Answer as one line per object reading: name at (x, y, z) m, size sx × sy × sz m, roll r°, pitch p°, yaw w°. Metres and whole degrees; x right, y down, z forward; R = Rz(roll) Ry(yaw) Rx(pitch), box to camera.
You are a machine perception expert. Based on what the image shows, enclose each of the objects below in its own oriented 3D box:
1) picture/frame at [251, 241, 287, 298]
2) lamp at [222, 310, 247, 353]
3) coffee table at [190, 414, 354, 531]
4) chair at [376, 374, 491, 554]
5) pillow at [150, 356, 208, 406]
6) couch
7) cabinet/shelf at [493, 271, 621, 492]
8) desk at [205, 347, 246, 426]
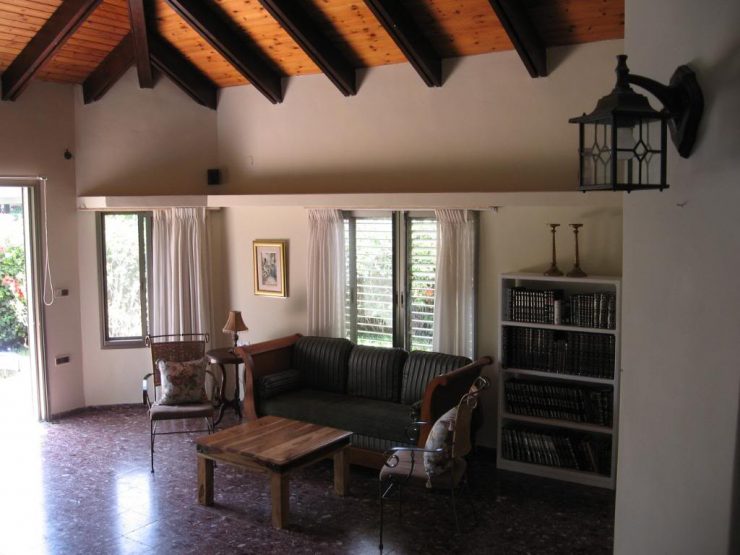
picture/frame at (-1.303, -0.124, 7.852) m, size 0.650 × 0.857 × 0.090 m, roll 4°, pitch 7°, yaw 34°
lamp at (-1.672, 0.666, 7.508) m, size 0.289 × 0.460 × 0.288 m, roll -1°, pitch 1°, yaw -33°
coffee table at (-0.913, 1.757, 5.675) m, size 1.266 × 0.600 × 0.947 m, roll 4°, pitch 10°, yaw 26°
chair at (0.502, 1.506, 5.679) m, size 1.126 × 2.020 × 1.243 m, roll 2°, pitch 3°, yaw 16°
pillow at (-2.086, 1.165, 6.736) m, size 0.533 × 0.562 × 0.202 m, roll -1°, pitch -22°, yaw -21°
couch at (-0.155, 1.335, 6.612) m, size 2.551 × 1.154 × 0.999 m, roll 3°, pitch 1°, yaw 33°
cabinet/shelf at (1.861, 0.971, 6.014) m, size 1.160 × 2.021 × 0.683 m, roll 3°, pitch 9°, yaw 24°
desk at (-1.773, 1.356, 7.605) m, size 0.576 × 0.808 × 0.644 m, roll -1°, pitch -4°, yaw 15°
